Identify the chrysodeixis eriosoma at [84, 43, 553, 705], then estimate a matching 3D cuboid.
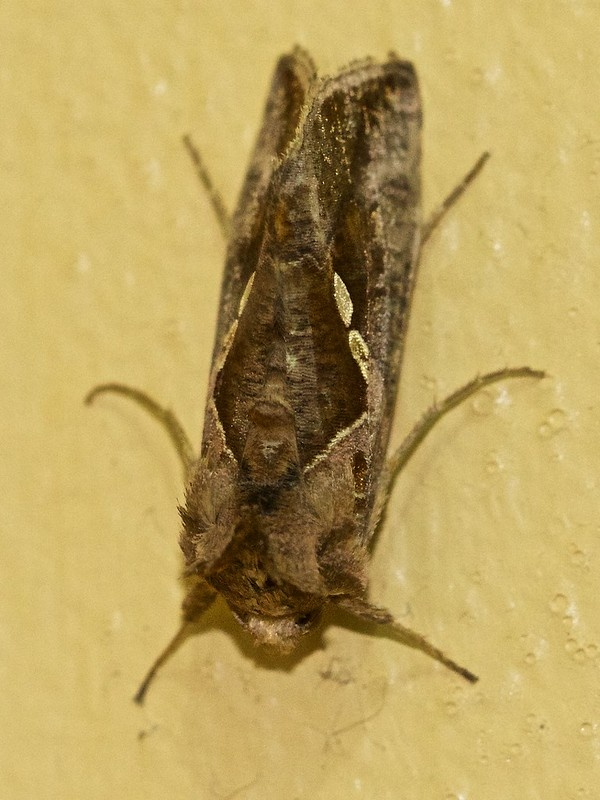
[{"bbox_3d":[-0.240,0.111,6.696,1.698,3.567,2.029,23,41,33],"label":"chrysodeixis eriosoma"}]
